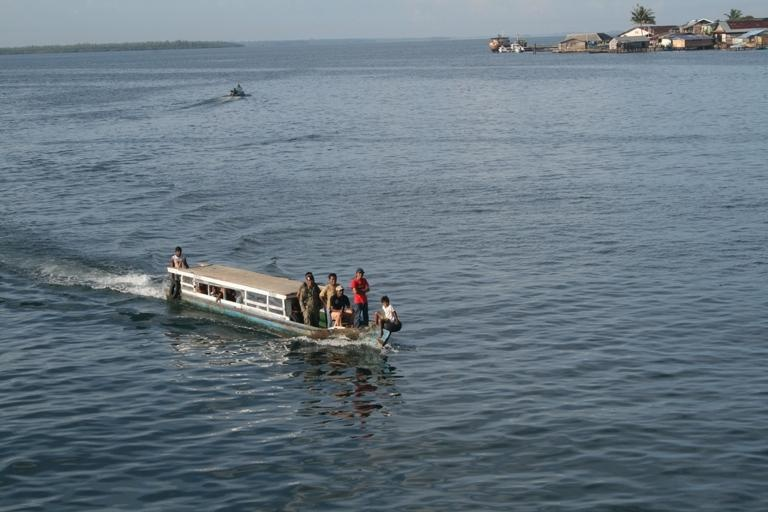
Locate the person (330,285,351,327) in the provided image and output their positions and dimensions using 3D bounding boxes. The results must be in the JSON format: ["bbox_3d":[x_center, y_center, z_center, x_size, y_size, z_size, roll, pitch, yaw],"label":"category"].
[{"bbox_3d":[-2.243,2.563,53.842,0.864,2.134,1.102,19,27,36],"label":"person"}]

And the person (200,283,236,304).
[{"bbox_3d":[-9.120,1.942,57.632,1.746,0.274,1.354,8,-9,27],"label":"person"}]
